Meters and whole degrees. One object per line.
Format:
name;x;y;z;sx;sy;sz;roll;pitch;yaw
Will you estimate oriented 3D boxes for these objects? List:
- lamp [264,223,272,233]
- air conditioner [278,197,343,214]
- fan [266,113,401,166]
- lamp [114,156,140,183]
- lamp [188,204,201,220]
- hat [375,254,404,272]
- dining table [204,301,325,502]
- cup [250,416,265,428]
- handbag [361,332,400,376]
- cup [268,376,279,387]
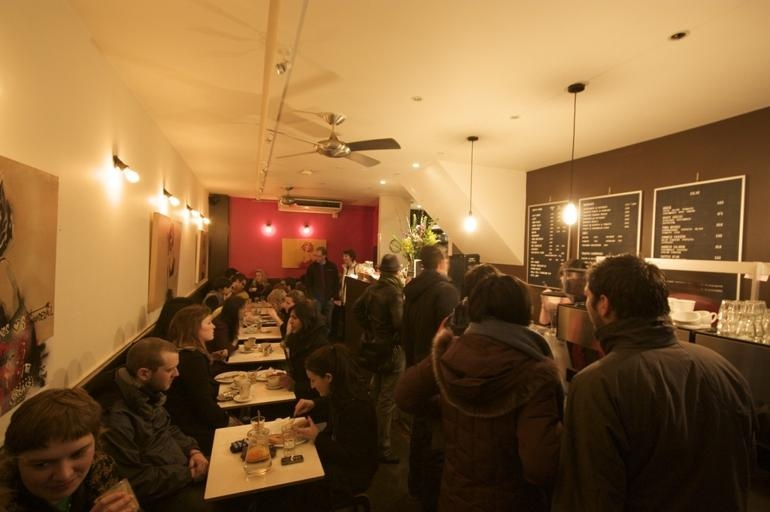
lamp;-2.563;-0.617;11.974;0.187;0.220;0.068;1;1;-24
air conditioner;-1.491;-1.104;11.971;1.432;0.293;1.054;1;1;-30
fan;-0.672;-1.218;5.861;1.134;0.415;1.895;1;1;-17
lamp;-2.352;-0.805;4.920;0.147;0.212;0.350;1;1;-10
lamp;-3.020;-0.695;8.534;0.096;0.111;0.488;33;0;-3
hat;0.051;0.085;6.729;0.306;0.141;0.360;6;-1;4
dining table;-1.179;1.346;5.291;0.933;0.856;1.794;1;-4;-11
cup;-0.970;1.270;4.111;0.120;0.088;0.120;-1;-7;0
handbag;-0.042;1.012;5.450;0.386;0.367;0.383;3;-10;-14
cup;-1.016;1.155;4.942;0.082;0.064;0.083;0;-9;0
